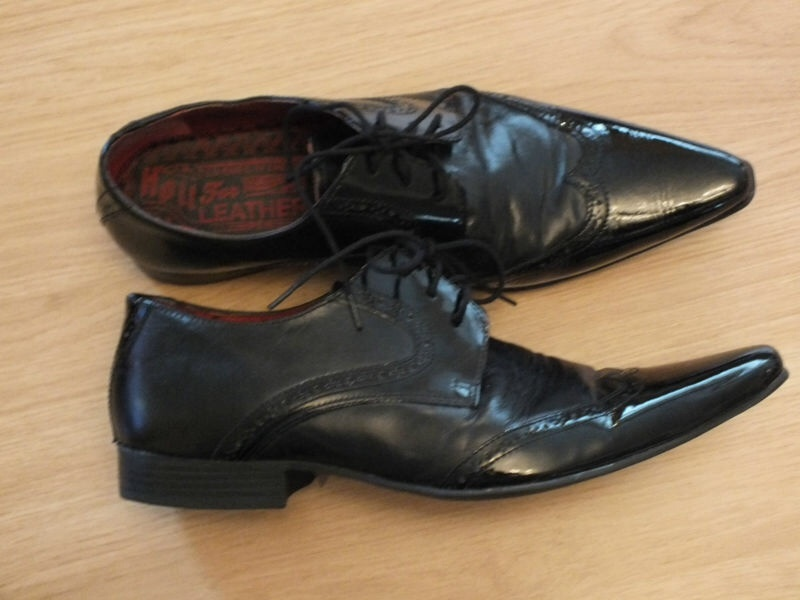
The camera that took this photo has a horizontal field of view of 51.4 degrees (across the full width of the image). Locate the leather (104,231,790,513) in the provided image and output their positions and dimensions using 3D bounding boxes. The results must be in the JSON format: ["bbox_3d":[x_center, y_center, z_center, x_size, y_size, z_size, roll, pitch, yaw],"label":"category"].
[{"bbox_3d":[-0.252,0.127,1.307,1.566,0.295,0.312,-1,23,0],"label":"leather"}]
